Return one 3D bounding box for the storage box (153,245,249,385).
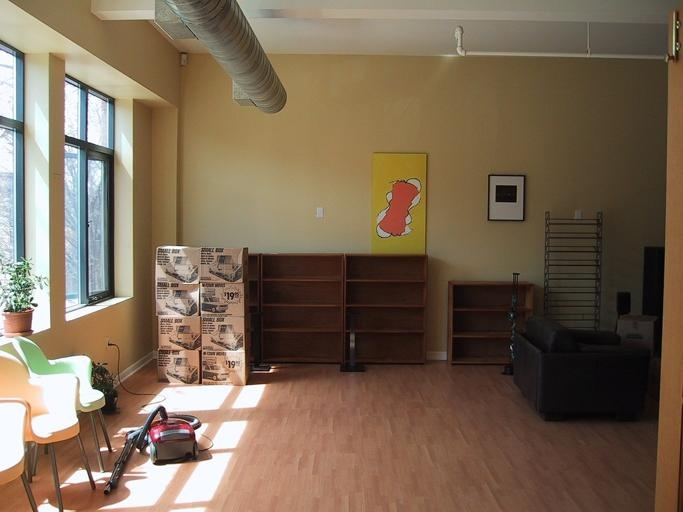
[{"bbox_3d":[-1.639,0.690,6.356,1.036,1.562,0.352,0,12,0],"label":"storage box"}]

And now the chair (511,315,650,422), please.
[{"bbox_3d":[2.651,1.225,6.196,1.031,1.038,1.540,0,0,8],"label":"chair"}]

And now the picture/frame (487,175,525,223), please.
[{"bbox_3d":[2.205,-0.784,7.278,0.470,0.648,0.035,3,27,21],"label":"picture/frame"}]

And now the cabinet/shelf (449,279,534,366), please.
[{"bbox_3d":[1.962,0.881,7.189,0.995,1.062,0.355,-2,5,11],"label":"cabinet/shelf"}]
